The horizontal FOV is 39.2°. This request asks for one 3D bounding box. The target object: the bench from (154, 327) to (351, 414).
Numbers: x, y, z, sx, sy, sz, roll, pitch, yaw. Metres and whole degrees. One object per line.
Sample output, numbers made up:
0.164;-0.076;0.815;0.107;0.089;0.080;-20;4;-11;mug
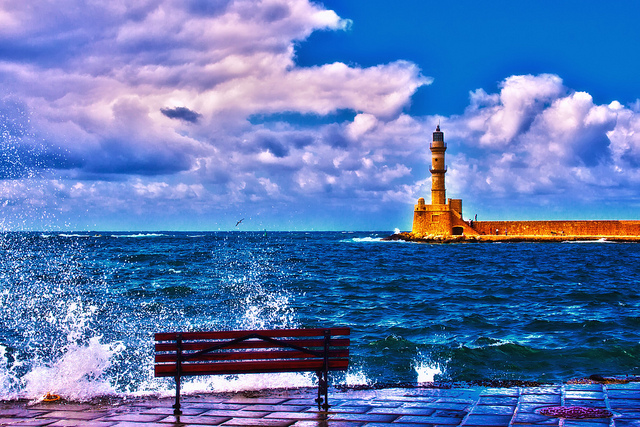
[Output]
-2.119;4.677;27.725;5.787;2.360;0.877;0;12;-3;bench
